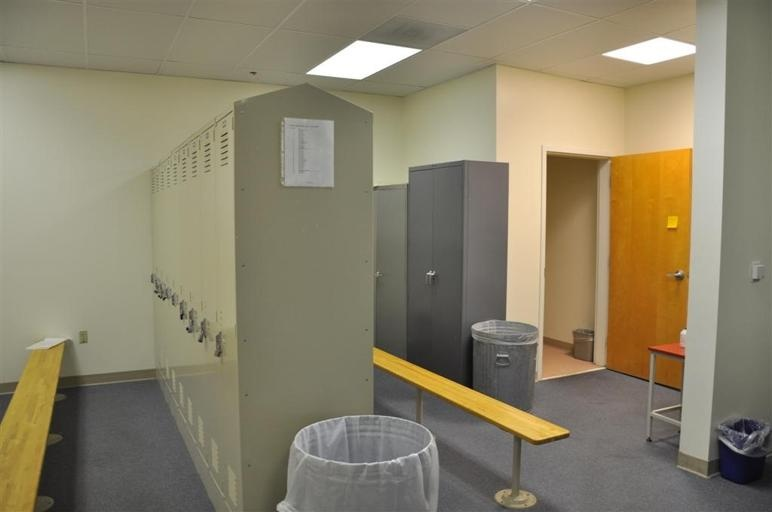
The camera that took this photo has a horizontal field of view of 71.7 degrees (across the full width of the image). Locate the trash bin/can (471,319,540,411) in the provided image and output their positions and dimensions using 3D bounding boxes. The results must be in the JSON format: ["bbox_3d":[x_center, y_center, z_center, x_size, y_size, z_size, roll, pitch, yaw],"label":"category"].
[{"bbox_3d":[1.223,1.121,5.805,0.824,0.887,0.793,0,1,4],"label":"trash bin/can"}]
